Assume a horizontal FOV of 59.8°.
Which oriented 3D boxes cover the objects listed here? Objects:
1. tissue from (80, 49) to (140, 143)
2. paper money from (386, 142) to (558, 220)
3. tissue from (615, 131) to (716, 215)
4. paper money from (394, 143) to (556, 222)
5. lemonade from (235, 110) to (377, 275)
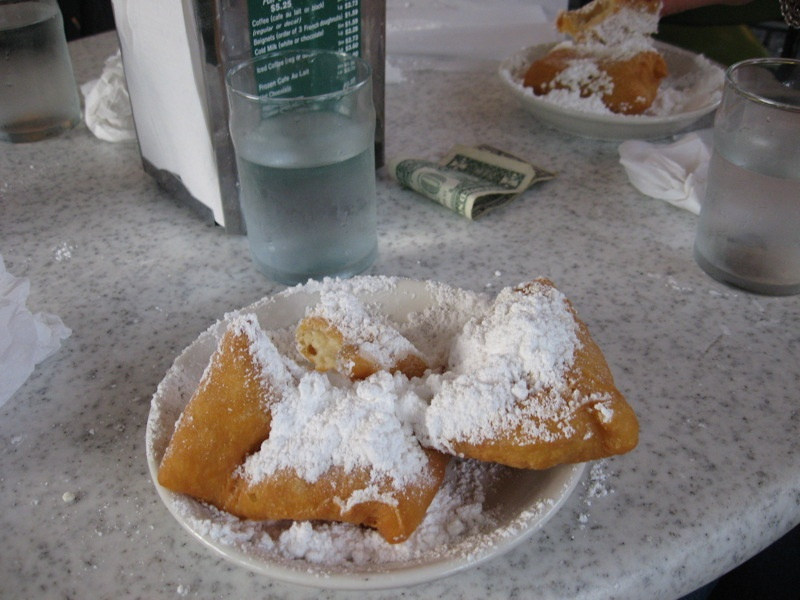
[{"bbox_3d":[-0.475,-0.320,1.114,0.099,0.112,0.103,-5,44,-6],"label":"tissue"},{"bbox_3d":[0.111,-0.178,1.005,0.213,0.116,0.164,3,23,36],"label":"paper money"},{"bbox_3d":[0.389,-0.190,1.014,0.086,0.144,0.126,-19,30,-41],"label":"tissue"},{"bbox_3d":[0.111,-0.188,1.013,0.203,0.044,0.153,-28,52,-25],"label":"paper money"},{"bbox_3d":[-0.097,-0.152,0.863,0.152,0.190,0.167,-5,37,-4],"label":"lemonade"}]
